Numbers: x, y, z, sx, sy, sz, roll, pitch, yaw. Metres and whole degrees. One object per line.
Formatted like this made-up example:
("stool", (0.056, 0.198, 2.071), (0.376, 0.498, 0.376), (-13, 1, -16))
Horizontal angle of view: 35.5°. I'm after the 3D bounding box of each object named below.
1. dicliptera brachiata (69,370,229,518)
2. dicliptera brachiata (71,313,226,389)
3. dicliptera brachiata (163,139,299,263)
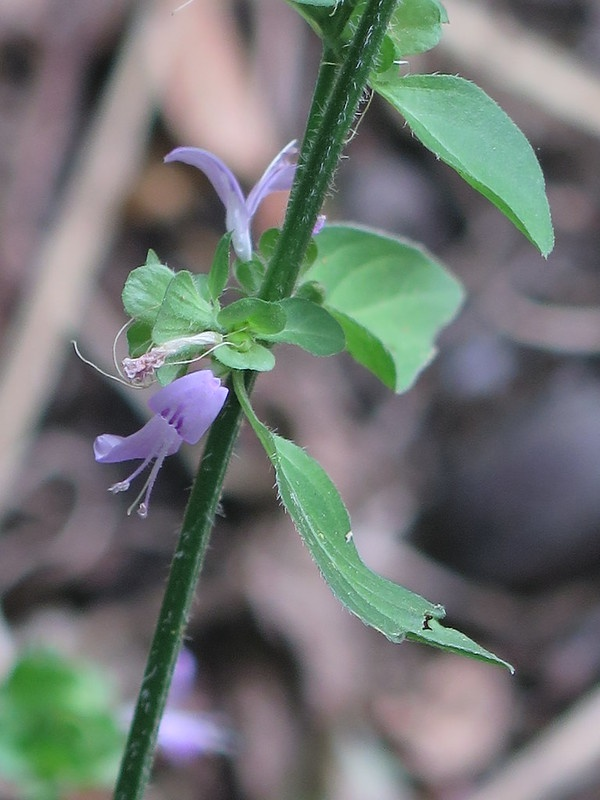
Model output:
("dicliptera brachiata", (-0.073, 0.020, 0.499), (0.063, 0.092, 0.030), (34, 46, -13))
("dicliptera brachiata", (-0.096, -0.030, 0.571), (0.100, 0.022, 0.054), (-17, 31, -8))
("dicliptera brachiata", (-0.035, -0.108, 0.535), (0.088, 0.044, 0.080), (-5, 23, -33))
